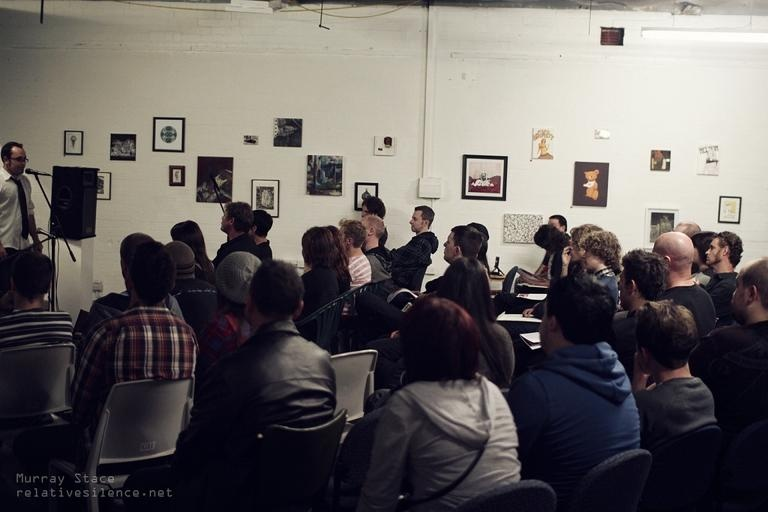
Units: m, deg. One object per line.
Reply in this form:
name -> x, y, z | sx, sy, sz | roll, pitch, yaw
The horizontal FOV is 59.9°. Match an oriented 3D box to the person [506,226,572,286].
person -> 1.656, -0.015, 7.405 | 0.778, 0.770, 0.477 | 0, 9, -6

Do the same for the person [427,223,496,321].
person -> 0.482, 0.167, 4.376 | 0.465, 0.722, 0.327 | 14, 11, 18

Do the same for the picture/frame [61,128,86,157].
picture/frame -> -3.903, -1.426, 8.388 | 0.362, 0.430, 0.018 | 0, 4, 3

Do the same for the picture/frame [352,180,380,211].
picture/frame -> -0.215, -0.757, 8.249 | 0.403, 0.444, 0.033 | 1, 7, -8

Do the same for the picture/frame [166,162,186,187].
picture/frame -> -2.611, -1.029, 8.383 | 0.309, 0.372, 0.043 | 1, 3, -9

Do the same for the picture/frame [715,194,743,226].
picture/frame -> 4.315, -0.577, 8.347 | 0.394, 0.483, 0.028 | 1, 2, 4

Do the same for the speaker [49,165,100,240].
speaker -> -3.025, -0.530, 6.496 | 0.382, 0.634, 0.355 | 5, 5, -8

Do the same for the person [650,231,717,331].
person -> 2.239, 0.188, 4.966 | 0.723, 0.701, 0.407 | -9, 13, -35

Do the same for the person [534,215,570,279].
person -> 2.058, -0.032, 8.021 | 0.507, 0.941, 0.406 | 5, 19, 13

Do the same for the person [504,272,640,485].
person -> 1.018, 0.676, 3.635 | 0.712, 1.118, 0.247 | 3, 4, -3

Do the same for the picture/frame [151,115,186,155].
picture/frame -> -2.705, -1.534, 8.365 | 0.493, 0.509, 0.037 | 0, 5, 1

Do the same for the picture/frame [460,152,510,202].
picture/frame -> 1.231, -1.008, 8.332 | 0.620, 0.610, 0.049 | 1, 3, -2

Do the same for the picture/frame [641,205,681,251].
picture/frame -> 3.471, -0.340, 8.311 | 0.024, 0.478, 0.424 | 2, 2, -41

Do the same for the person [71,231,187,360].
person -> -1.801, 0.332, 4.679 | 0.846, 0.798, 0.431 | 4, 1, 5
